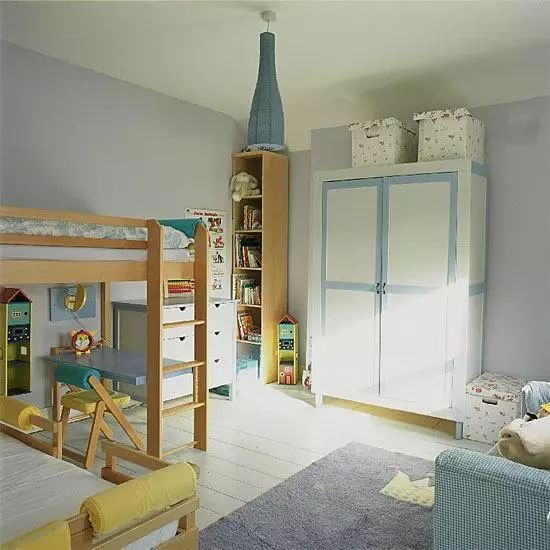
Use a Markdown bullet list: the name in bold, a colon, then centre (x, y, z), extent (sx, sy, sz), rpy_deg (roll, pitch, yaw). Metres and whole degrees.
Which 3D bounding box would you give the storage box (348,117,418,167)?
- **storage box**: centre (0.778, -0.912, 3.727), extent (0.413, 0.233, 0.412), rpy_deg (3, 7, 39)

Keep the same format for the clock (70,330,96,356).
- **clock**: centre (-1.280, 0.454, 3.475), extent (0.063, 0.177, 0.174), rpy_deg (-2, -2, 44)

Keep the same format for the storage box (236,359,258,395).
- **storage box**: centre (-0.265, 0.942, 4.859), extent (0.240, 0.330, 0.373), rpy_deg (-1, -13, 1)

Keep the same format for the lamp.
- **lamp**: centre (-0.052, -1.004, 2.836), extent (0.190, 0.595, 0.111), rpy_deg (0, 5, -3)

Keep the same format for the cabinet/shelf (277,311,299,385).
- **cabinet/shelf**: centre (0.111, 0.664, 4.673), extent (0.178, 0.601, 0.193), rpy_deg (1, 5, 1)

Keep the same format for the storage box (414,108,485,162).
- **storage box**: centre (1.158, -0.900, 3.483), extent (0.340, 0.313, 0.449), rpy_deg (3, 5, 32)
